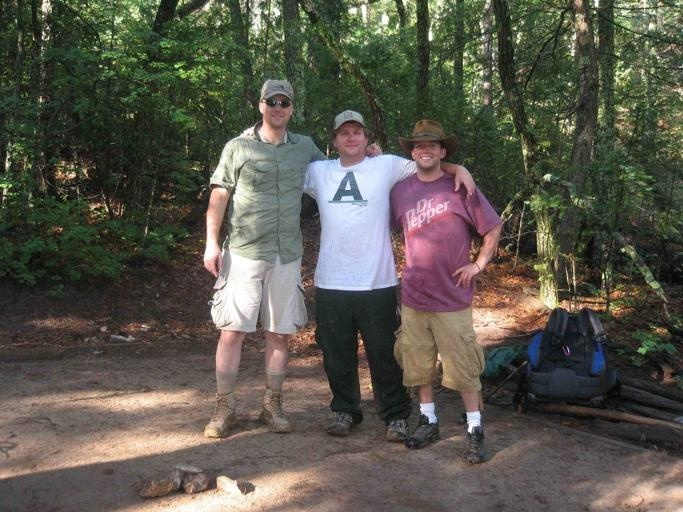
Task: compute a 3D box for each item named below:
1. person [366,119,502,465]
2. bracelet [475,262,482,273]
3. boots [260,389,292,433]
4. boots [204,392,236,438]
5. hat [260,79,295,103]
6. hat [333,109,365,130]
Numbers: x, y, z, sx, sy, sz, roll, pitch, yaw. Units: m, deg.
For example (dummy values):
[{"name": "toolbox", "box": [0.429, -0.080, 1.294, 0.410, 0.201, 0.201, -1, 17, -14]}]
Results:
[{"name": "person", "box": [1.067, 0.298, 7.058, 1.400, 3.477, 0.996, 10, 15, 26]}, {"name": "bracelet", "box": [1.496, 0.123, 7.042, 0.079, 0.107, 0.145, 6, 13, 11]}, {"name": "boots", "box": [-0.752, 1.717, 7.301, 0.263, 0.404, 0.678, 4, 1, -26]}, {"name": "boots", "box": [-1.337, 1.733, 7.054, 0.297, 0.371, 0.452, 4, 13, 4]}, {"name": "hat", "box": [-0.731, -1.870, 7.287, 0.351, 0.245, 0.345, 2, 12, -4]}, {"name": "hat", "box": [0.073, -1.525, 7.262, 0.337, 0.237, 0.264, 3, 13, -2]}]
